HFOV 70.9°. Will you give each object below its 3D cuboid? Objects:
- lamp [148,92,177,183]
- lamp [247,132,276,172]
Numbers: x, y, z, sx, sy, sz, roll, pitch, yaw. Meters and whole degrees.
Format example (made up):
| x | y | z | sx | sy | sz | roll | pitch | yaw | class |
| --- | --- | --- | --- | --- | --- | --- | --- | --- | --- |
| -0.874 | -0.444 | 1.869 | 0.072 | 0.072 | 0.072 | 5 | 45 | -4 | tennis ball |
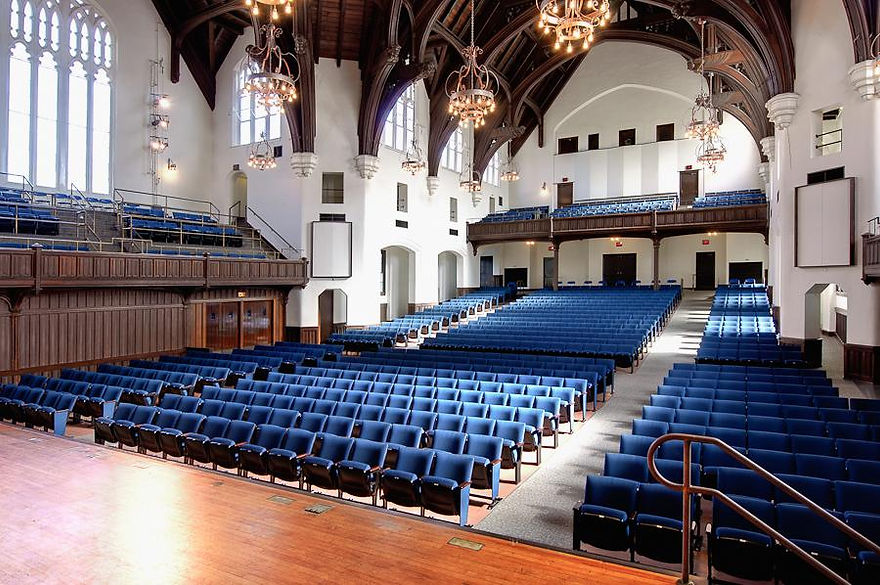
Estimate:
| x | y | z | sx | sy | sz | roll | pitch | yaw | class |
| --- | --- | --- | --- | --- | --- | --- | --- | --- | --- |
| -13.399 | -7.363 | 29.793 | 0.443 | 4.483 | 1.239 | 0 | 0 | 32 | lamp |
| -8.252 | -6.672 | 28.966 | 0.945 | 1.381 | 1.002 | 3 | 1 | 5 | lamp |
